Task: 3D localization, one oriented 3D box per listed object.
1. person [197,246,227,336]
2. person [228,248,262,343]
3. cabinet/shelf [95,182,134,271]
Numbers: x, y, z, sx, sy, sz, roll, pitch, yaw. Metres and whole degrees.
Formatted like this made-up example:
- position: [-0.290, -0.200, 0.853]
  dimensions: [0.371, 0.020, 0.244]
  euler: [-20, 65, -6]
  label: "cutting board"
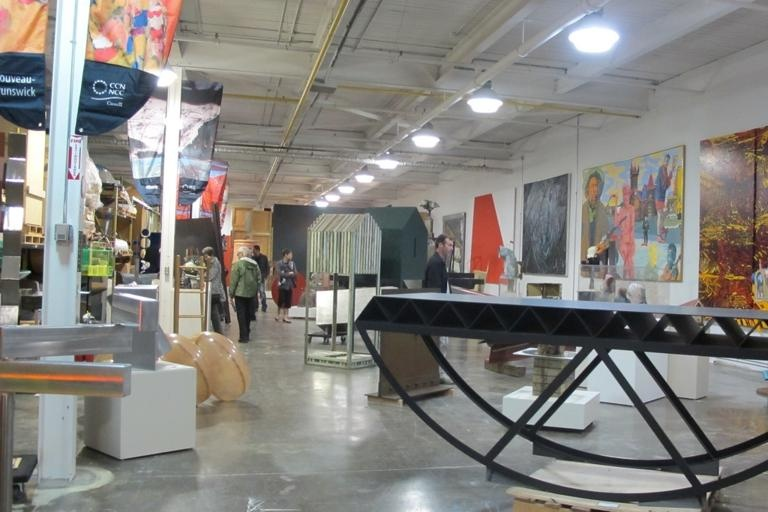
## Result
- position: [-3.169, 0.668, 10.941]
  dimensions: [0.405, 1.554, 2.023]
  euler: [1, -3, -16]
  label: "person"
- position: [-2.817, 0.739, 11.852]
  dimensions: [0.568, 1.863, 1.220]
  euler: [1, -3, -14]
  label: "person"
- position: [-4.446, -0.478, 9.792]
  dimensions: [0.534, 1.410, 3.366]
  euler: [2, -3, -23]
  label: "cabinet/shelf"
